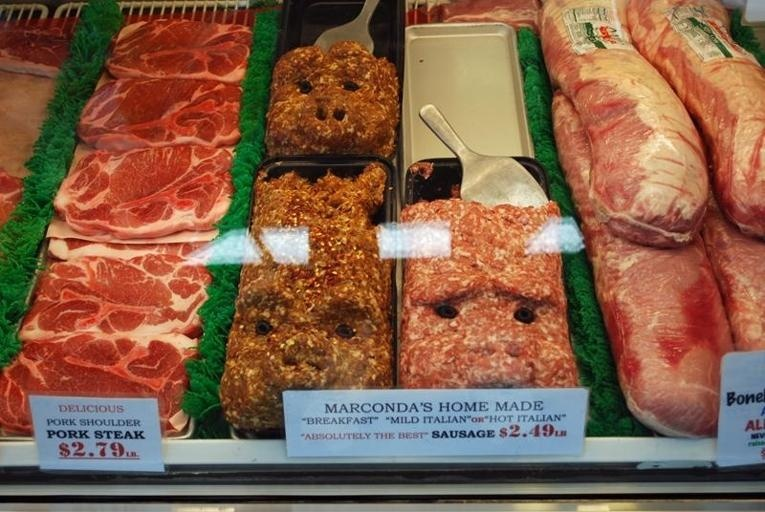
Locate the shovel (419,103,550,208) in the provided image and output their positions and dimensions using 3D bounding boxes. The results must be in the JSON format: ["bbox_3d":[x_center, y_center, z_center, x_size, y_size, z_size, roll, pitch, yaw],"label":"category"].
[{"bbox_3d":[0.338,-0.309,2.164,0.184,0.072,0.540,-27,59,-17],"label":"shovel"}]
